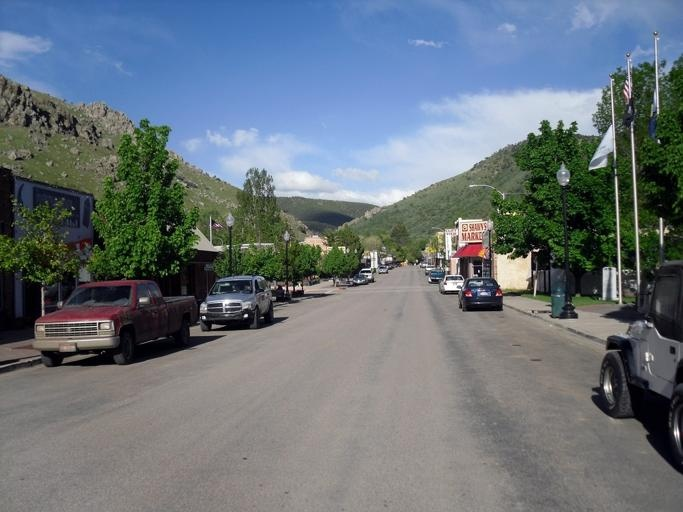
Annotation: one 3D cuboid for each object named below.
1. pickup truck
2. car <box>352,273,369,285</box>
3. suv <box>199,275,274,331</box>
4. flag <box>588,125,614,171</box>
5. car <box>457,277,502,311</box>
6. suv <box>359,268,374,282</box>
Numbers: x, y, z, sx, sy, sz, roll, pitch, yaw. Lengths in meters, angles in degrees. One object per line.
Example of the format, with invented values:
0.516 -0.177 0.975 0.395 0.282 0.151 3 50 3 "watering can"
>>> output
-6.171 1.800 16.021 2.071 1.692 4.262 -2 -5 10 "pickup truck"
2.925 3.571 83.709 2.052 1.512 3.821 -1 0 3 "car"
-4.305 1.946 23.913 1.627 1.648 3.401 -3 -9 5 "suv"
12.850 -5.308 27.118 1.043 1.981 2.115 0 1 25 "flag"
7.577 2.096 29.891 1.917 1.766 1.590 -1 1 1 "car"
4.197 3.074 88.525 1.338 1.503 3.206 -2 -9 7 "suv"
